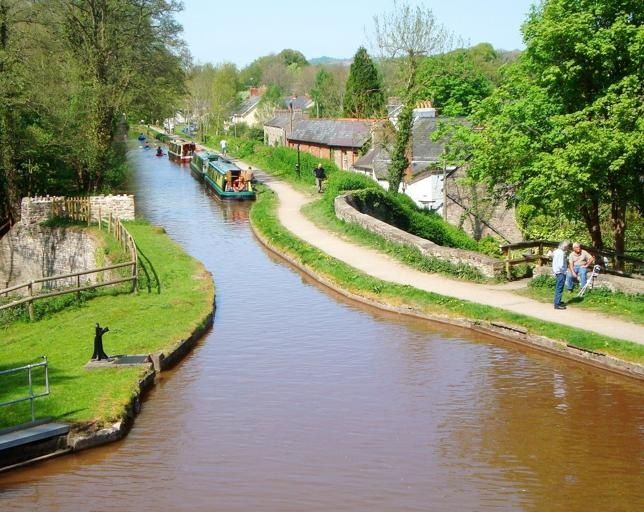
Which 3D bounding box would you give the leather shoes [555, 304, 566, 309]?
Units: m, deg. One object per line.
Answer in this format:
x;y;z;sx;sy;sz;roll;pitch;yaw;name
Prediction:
8.107;1.691;30.934;0.398;0.172;0.146;-1;4;-3;leather shoes

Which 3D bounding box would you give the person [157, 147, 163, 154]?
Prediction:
-17.120;-10.917;96.283;0.498;0.843;2.045;4;11;-11;person

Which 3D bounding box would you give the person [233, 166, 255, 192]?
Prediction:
-5.131;-4.979;59.817;0.971;1.117;1.802;0;15;-4;person
